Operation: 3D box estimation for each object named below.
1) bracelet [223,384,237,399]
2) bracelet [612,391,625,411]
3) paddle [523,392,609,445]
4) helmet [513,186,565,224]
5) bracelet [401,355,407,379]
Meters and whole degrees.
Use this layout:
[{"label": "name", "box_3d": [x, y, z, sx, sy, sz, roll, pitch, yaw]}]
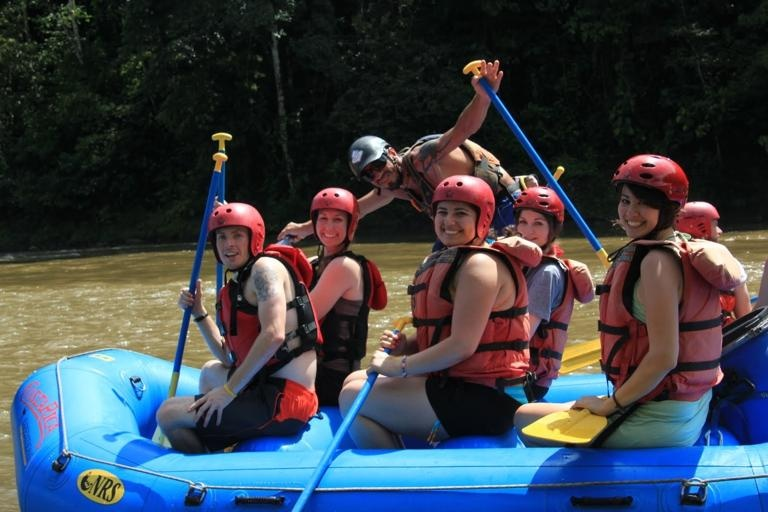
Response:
[{"label": "bracelet", "box_3d": [-2.013, 1.750, 13.094, 0.060, 0.163, 0.168, -42, 27, -12]}, {"label": "bracelet", "box_3d": [2.880, 1.797, 12.536, 0.204, 0.055, 0.166, 35, -24, 3]}, {"label": "paddle", "box_3d": [2.254, 2.097, 12.560, 0.829, 0.239, 0.614, -13, 35, -11]}, {"label": "helmet", "box_3d": [2.189, -0.746, 14.102, 0.457, 0.611, 0.523, 7, 3, 30]}, {"label": "bracelet", "box_3d": [0.244, 1.410, 12.904, 0.067, 0.189, 0.159, 0, 3, -7]}]
